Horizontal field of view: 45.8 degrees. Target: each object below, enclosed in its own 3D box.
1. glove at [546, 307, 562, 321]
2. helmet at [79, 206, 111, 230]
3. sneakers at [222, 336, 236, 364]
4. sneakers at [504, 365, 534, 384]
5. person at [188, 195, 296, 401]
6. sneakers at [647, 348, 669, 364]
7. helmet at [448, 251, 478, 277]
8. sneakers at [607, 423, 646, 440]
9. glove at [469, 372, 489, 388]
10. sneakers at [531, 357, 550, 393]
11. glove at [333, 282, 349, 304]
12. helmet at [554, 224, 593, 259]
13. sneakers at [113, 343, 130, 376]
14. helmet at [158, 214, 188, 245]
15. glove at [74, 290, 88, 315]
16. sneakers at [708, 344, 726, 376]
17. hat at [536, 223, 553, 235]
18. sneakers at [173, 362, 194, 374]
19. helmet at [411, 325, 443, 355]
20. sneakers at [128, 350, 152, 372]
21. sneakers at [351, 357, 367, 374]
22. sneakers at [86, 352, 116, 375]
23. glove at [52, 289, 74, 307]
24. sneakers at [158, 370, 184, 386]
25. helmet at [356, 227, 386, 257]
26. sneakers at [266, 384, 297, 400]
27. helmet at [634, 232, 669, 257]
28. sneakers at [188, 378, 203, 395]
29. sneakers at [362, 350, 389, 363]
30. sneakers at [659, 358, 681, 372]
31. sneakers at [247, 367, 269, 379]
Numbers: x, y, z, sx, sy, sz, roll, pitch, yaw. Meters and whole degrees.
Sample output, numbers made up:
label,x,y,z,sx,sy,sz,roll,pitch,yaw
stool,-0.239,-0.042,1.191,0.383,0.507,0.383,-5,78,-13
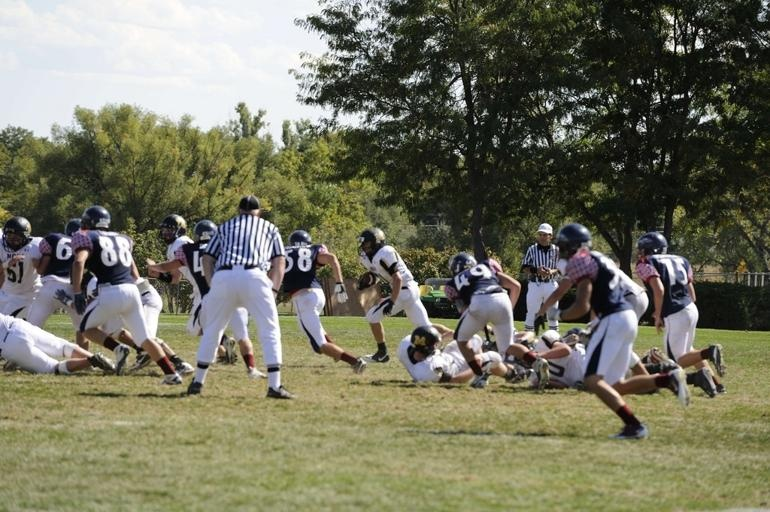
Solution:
label,x,y,z,sx,sy,sz,roll,pitch,yaw
glove,2.412,0.855,13.109,0.224,0.223,0.177,-7,12,27
helmet,-4.922,-0.645,15.457,0.459,0.391,0.352,6,2,22
sneakers,-2.864,1.735,16.929,0.249,0.566,0.204,-3,6,15
sneakers,2.264,2.035,15.698,0.634,0.297,0.209,-14,12,-29
person,-2.221,0.658,14.191,1.467,3.096,0.880,1,8,-8
sneakers,4.700,1.733,15.681,0.231,0.115,0.268,14,14,-45
helmet,1.315,0.146,15.882,0.436,0.443,0.376,22,32,24
sneakers,3.420,2.476,12.925,0.557,0.245,0.193,1,-1,0
glove,1.577,2.114,15.351,0.173,0.404,0.136,28,-8,-17
sneakers,2.571,1.970,15.220,0.214,0.582,0.274,-4,2,-42
glove,-0.897,0.743,17.135,0.129,0.449,0.329,-6,8,18
helmet,2.734,-0.237,13.274,0.522,0.541,0.436,14,16,38
sneakers,-4.496,1.834,15.643,0.218,0.649,0.266,1,13,-32
helmet,-3.970,-0.487,16.865,0.604,0.584,0.486,3,-1,-25
glove,-5.103,0.775,15.228,0.216,0.389,0.107,-5,-1,-2
sneakers,5.924,1.877,16.276,0.277,0.617,0.209,-15,18,18
hat,3.486,-0.631,19.869,0.325,0.237,0.449,2,-10,19
sneakers,-3.404,1.913,15.449,0.176,0.151,0.378,29,1,20
helmet,0.688,1.466,15.543,0.512,0.424,0.375,-14,31,-15
sneakers,-4.347,1.930,16.061,0.277,0.219,0.637,11,-45,-24
sneakers,-0.481,1.981,16.229,0.145,0.173,0.391,-34,-21,-25
sneakers,-4.805,1.806,15.391,0.418,0.167,0.251,44,-12,-11
glove,-5.686,0.734,16.094,0.353,0.243,0.163,14,19,36
sneakers,-3.471,2.003,14.841,0.154,0.177,0.372,-15,5,-37
helmet,-0.294,-0.283,17.351,0.557,0.533,0.429,-10,13,-8
sneakers,-1.618,2.103,14.158,0.487,0.212,0.176,1,3,-5
helmet,4.714,-0.198,16.122,0.482,0.480,0.391,7,3,24
sneakers,-2.966,2.034,14.218,0.187,0.138,0.253,9,41,-17
sneakers,-0.175,1.940,17.642,0.554,0.240,0.201,4,-3,-5
sneakers,4.639,1.778,14.838,0.277,0.252,0.216,-14,4,3
sneakers,-2.162,2.007,15.688,0.396,0.290,0.139,-2,18,5
